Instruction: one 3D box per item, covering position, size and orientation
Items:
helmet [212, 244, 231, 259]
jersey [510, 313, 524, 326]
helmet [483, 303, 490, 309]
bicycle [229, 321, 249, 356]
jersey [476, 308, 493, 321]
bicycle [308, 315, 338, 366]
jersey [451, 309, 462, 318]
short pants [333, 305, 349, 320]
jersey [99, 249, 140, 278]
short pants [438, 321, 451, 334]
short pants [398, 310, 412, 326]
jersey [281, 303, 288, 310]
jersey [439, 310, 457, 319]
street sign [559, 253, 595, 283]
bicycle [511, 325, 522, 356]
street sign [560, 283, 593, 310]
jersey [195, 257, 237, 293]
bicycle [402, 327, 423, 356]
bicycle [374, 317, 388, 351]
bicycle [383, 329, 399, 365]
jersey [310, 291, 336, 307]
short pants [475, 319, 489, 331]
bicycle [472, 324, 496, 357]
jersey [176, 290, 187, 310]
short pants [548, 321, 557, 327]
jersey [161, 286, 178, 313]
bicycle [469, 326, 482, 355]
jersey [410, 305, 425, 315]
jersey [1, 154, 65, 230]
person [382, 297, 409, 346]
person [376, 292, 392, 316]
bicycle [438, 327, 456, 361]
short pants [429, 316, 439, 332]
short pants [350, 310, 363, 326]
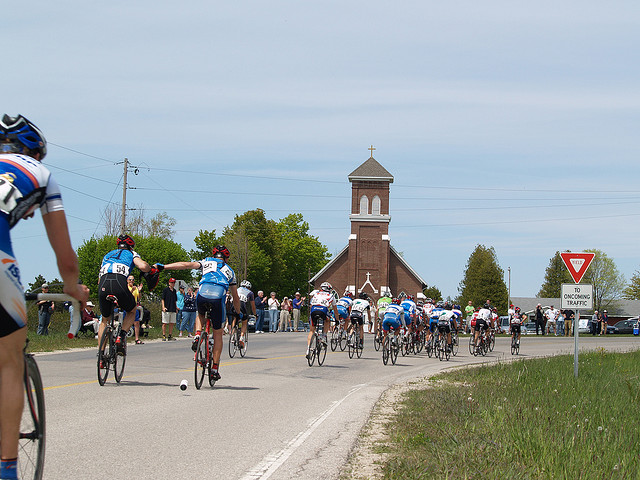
[{"bbox_3d":[-1.669,0.184,15.088,0.196,0.260,0.264,21,25,25],"label":"helmet"},{"bbox_3d":[6.751,2.726,30.651,0.270,0.197,0.588,4,40,17],"label":"jersey"},{"bbox_3d":[5.387,2.122,28.728,0.189,0.188,0.139,-2,6,-8],"label":"helmet"},{"bbox_3d":[-2.027,2.307,21.683,0.511,0.853,1.345,4,-3,0],"label":"bicycle"},{"bbox_3d":[5.245,2.400,28.310,0.495,0.300,0.499,0,34,32],"label":"jersey"},{"bbox_3d":[0.019,2.440,20.572,0.456,0.747,1.211,2,7,9],"label":"bicycle"},{"bbox_3d":[4.127,2.181,26.507,0.313,0.198,0.341,18,-2,-13],"label":"jersey"},{"bbox_3d":[0.608,1.814,22.641,0.205,0.354,0.802,1,-2,11],"label":"short pants"},{"bbox_3d":[-3.267,0.377,14.776,0.488,0.511,0.515,-19,-14,8],"label":"jersey"},{"bbox_3d":[3.497,2.437,25.115,0.354,0.297,0.505,6,-17,8],"label":"short pants"},{"bbox_3d":[2.417,2.133,24.325,0.376,0.448,0.454,3,-7,26],"label":"short pants"},{"bbox_3d":[-1.593,3.050,41.206,0.237,0.296,0.260,0,-3,40],"label":"jersey"},{"bbox_3d":[3.640,2.201,25.355,0.390,0.412,0.225,9,9,27],"label":"jersey"},{"bbox_3d":[5.557,0.591,19.247,0.624,0.646,0.921,1,-2,19],"label":"street sign"},{"bbox_3d":[6.586,3.392,30.262,0.435,0.592,0.919,2,10,10],"label":"bicycle"},{"bbox_3d":[5.498,1.211,19.088,0.635,0.554,0.745,1,-2,15],"label":"street sign"},{"bbox_3d":[-1.727,0.555,14.826,0.614,0.647,0.350,11,4,-11],"label":"jersey"},{"bbox_3d":[2.728,3.130,26.268,0.472,0.639,0.991,2,8,22],"label":"bicycle"},{"bbox_3d":[1.734,2.660,25.068,0.445,0.619,0.964,2,-9,6],"label":"bicycle"},{"bbox_3d":[1.745,2.687,22.048,0.353,0.526,0.813,1,7,12],"label":"bicycle"},{"bbox_3d":[0.091,1.352,20.540,0.580,0.353,0.327,3,-2,-24],"label":"jersey"},{"bbox_3d":[5.109,2.635,28.253,0.427,0.531,0.290,4,12,22],"label":"short pants"},{"bbox_3d":[5.254,3.199,29.052,0.571,0.887,1.406,1,4,18],"label":"bicycle"},{"bbox_3d":[-4.541,1.995,29.506,0.292,0.592,0.563,-3,-6,19],"label":"jersey"},{"bbox_3d":[12.984,4.655,49.906,0.501,0.509,0.198,6,44,8],"label":"short pants"},{"bbox_3d":[-4.715,1.887,28.163,0.465,0.568,0.447,2,-2,-18],"label":"jersey"},{"bbox_3d":[4.978,3.182,28.406,0.364,0.897,0.739,1,-1,10],"label":"bicycle"},{"bbox_3d":[2.974,2.085,26.485,0.284,0.136,0.476,3,6,18],"label":"jersey"},{"bbox_3d":[-2.477,-0.396,7.598,0.493,0.647,0.309,23,13,-19],"label":"jersey"},{"bbox_3d":[1.880,1.934,22.552,0.461,0.523,1.234,1,16,5],"label":"person"},{"bbox_3d":[1.744,1.779,24.376,0.259,0.723,0.288,8,-38,13],"label":"person"},{"bbox_3d":[3.583,3.008,25.099,0.346,0.529,0.856,2,7,10],"label":"bicycle"},{"bbox_3d":[3.245,2.382,25.316,0.216,0.464,0.426,2,-1,-4],"label":"short pants"},{"bbox_3d":[0.965,1.982,23.013,0.316,0.300,0.547,3,-6,3],"label":"short pants"}]
